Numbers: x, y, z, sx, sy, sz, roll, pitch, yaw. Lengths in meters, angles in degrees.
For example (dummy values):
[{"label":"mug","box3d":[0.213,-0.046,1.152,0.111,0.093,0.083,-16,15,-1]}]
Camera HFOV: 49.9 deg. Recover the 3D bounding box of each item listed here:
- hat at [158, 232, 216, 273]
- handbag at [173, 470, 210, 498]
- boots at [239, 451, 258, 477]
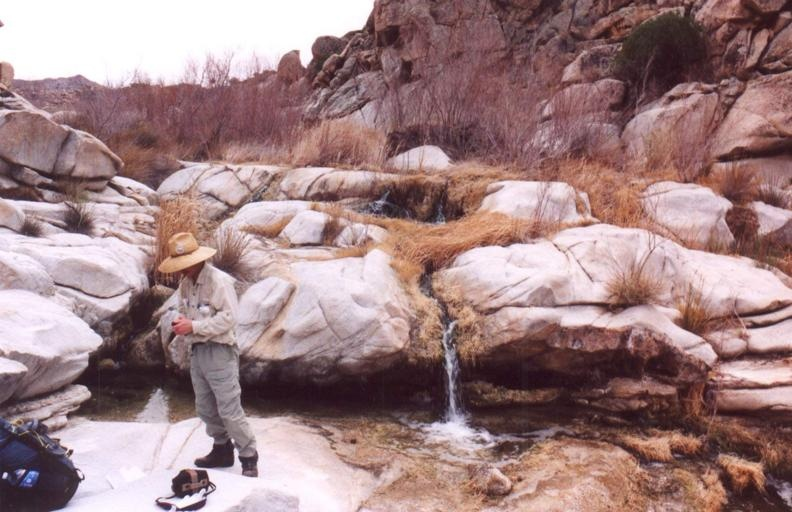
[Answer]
[{"label":"hat","box3d":[-3.646,-0.029,15.017,0.717,0.437,0.775,-20,8,1]},{"label":"handbag","box3d":[-3.439,3.790,14.231,0.455,0.396,0.446,-7,-2,-33]},{"label":"boots","box3d":[-2.546,3.612,14.632,0.180,0.380,0.548,-2,-31,-7]}]
